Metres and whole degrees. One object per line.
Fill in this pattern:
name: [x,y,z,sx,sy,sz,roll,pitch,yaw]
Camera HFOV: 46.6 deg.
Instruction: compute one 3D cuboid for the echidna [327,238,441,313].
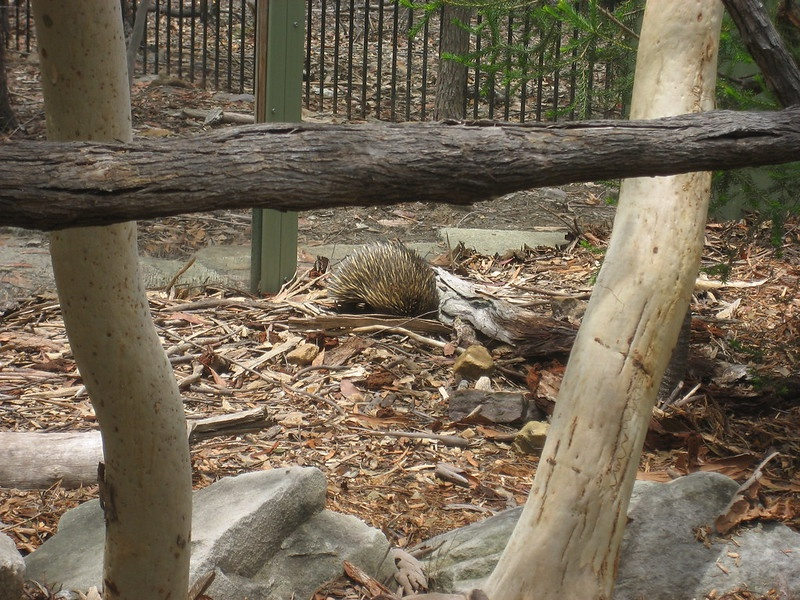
echidna: [-0.111,-0.156,7.140,0.848,0.383,0.490,8,18,26]
